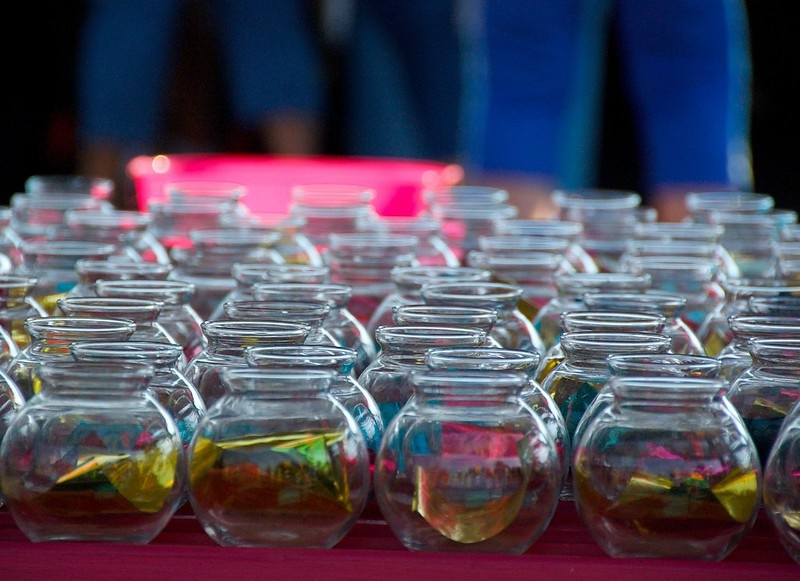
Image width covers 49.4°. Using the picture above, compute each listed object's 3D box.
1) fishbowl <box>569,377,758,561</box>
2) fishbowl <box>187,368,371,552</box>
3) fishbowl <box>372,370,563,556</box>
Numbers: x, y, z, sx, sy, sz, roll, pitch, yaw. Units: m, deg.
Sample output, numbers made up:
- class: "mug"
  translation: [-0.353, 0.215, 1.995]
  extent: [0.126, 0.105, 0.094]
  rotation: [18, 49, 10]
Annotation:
- class: "fishbowl"
  translation: [0.281, 0.176, 0.843]
  extent: [0.220, 0.127, 0.182]
  rotation: [4, -7, -17]
- class: "fishbowl"
  translation: [-0.080, 0.157, 0.857]
  extent: [0.242, 0.145, 0.189]
  rotation: [-4, -2, 3]
- class: "fishbowl"
  translation: [0.066, 0.167, 0.856]
  extent: [0.238, 0.140, 0.186]
  rotation: [1, -6, -1]
